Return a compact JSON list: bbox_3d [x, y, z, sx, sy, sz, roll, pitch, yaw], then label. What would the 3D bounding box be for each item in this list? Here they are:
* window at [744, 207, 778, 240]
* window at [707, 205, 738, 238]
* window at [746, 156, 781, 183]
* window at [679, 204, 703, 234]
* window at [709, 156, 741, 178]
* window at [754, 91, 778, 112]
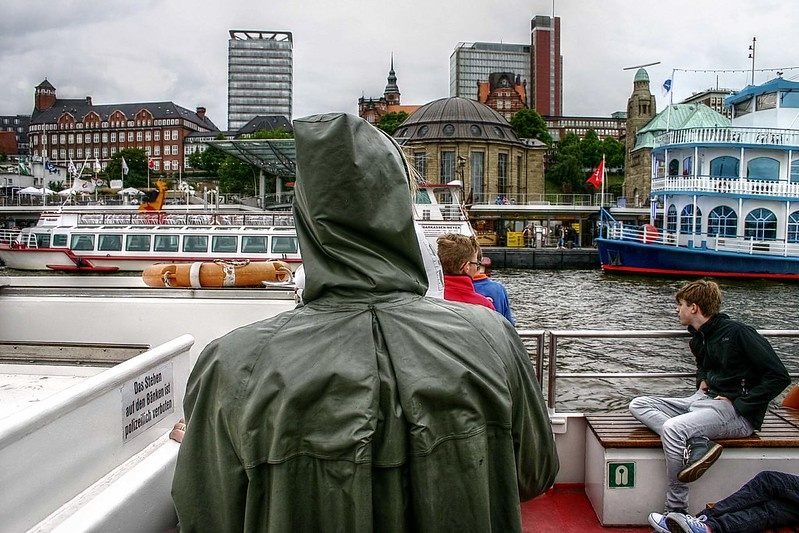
[{"bbox_3d":[24.242,-2.970,72.690,2.240,2.445,0.135,0,2,7],"label":"window"},{"bbox_3d":[21.834,-3.080,73.184,2.270,2.587,0.134,0,-1,19],"label":"window"},{"bbox_3d":[24.449,-6.535,72.759,1.874,1.760,0.196,-1,2,6],"label":"window"},{"bbox_3d":[19.919,-3.301,74.018,0.153,2.932,2.048,2,-1,-41],"label":"window"},{"bbox_3d":[22.046,-6.745,73.325,1.552,1.462,0.166,0,-3,11],"label":"window"},{"bbox_3d":[25.809,-11.665,76.300,0.267,1.071,1.512,-2,6,-33],"label":"window"}]
